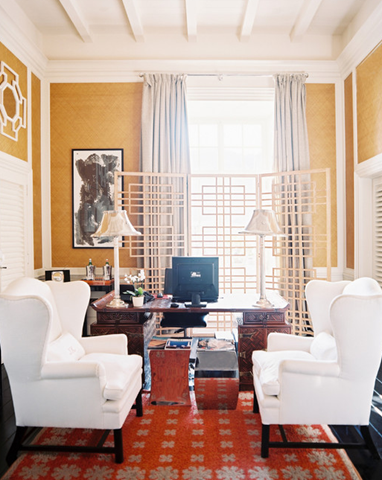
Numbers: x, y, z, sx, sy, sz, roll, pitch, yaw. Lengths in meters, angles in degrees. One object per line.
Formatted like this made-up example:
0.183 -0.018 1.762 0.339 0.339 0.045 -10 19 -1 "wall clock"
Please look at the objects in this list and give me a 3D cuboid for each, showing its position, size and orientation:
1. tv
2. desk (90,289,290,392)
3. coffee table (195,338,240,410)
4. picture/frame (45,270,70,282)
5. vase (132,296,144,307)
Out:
0.088 0.346 3.497 0.452 0.457 0.245 0 6 22 "tv"
-0.015 0.812 3.477 1.451 0.716 0.782 1 13 -2 "desk"
0.192 1.131 2.968 0.339 0.450 0.486 2 -25 -3 "coffee table"
-1.538 0.421 4.331 0.187 0.171 0.096 1 -3 -7 "picture/frame"
-0.443 0.525 3.180 0.087 0.069 0.081 -3 -4 23 "vase"
